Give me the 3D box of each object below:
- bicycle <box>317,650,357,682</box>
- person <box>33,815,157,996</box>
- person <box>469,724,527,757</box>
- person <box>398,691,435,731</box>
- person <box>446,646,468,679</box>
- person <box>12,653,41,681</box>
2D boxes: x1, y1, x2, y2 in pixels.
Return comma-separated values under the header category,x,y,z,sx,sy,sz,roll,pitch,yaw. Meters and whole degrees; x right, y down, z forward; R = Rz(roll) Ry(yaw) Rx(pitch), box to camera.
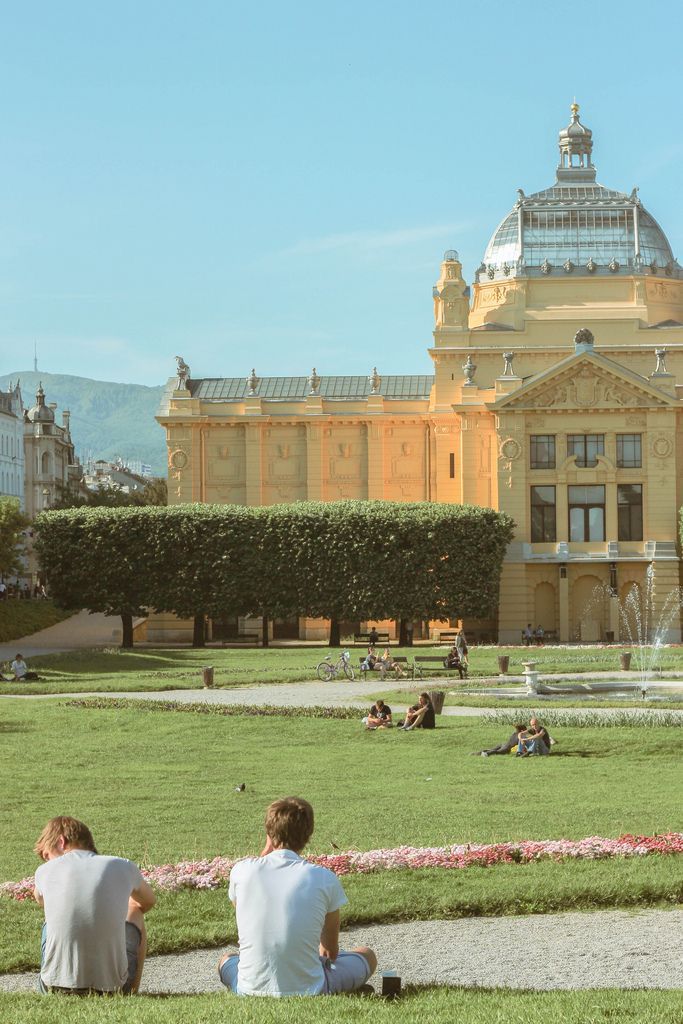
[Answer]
category,x,y,z,sx,sy,sz,roll,pitch,yaw
bicycle,-0.219,4.119,58.639,1.071,0.714,0.549,-6,7,-17
person,-2.031,3.193,18.001,0.910,1.468,0.715,0,-3,-14
person,2.552,3.741,36.363,0.743,0.210,0.417,-11,-3,-41
person,1.315,3.598,40.566,0.604,0.646,1.077,-1,-3,1
person,2.902,3.936,58.460,0.545,0.707,1.502,2,-4,-1
person,-8.271,4.026,57.979,0.669,0.789,0.525,-2,23,42
